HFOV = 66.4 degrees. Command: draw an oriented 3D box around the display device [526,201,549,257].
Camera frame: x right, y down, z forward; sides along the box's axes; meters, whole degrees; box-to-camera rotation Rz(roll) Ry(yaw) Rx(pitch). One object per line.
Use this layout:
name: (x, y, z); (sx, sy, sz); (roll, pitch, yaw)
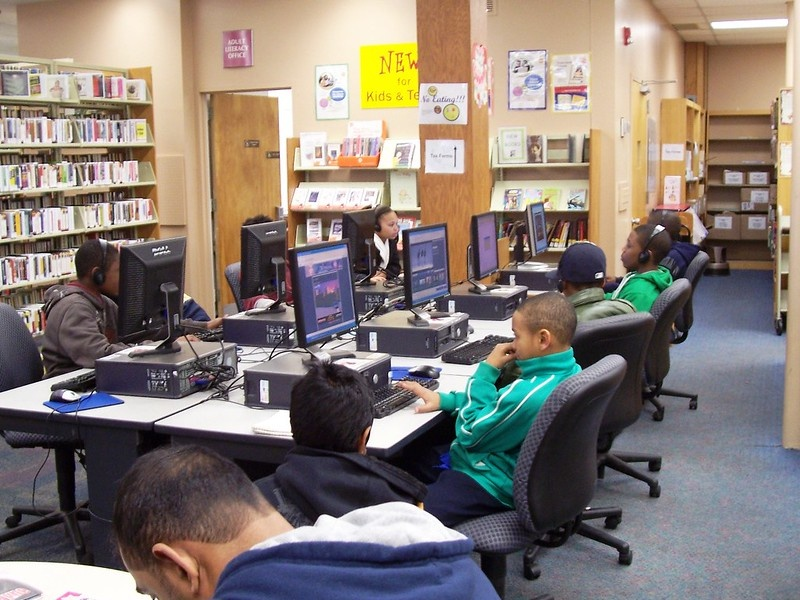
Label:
display device: (1.254, -0.645, 5.589); (0.138, 0.464, 0.500); (3, 12, 19)

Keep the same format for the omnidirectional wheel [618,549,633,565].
omnidirectional wheel: (1.106, 1.246, 3.006); (0.071, 0.070, 0.074); (-5, 10, 1)

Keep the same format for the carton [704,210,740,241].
carton: (6.154, -1.411, 11.697); (0.844, 0.602, 0.468); (7, 16, 38)

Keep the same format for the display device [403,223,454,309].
display device: (0.174, -0.191, 3.786); (0.062, 0.532, 0.606); (0, 4, 28)

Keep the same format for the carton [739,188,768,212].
carton: (6.703, -1.882, 11.562); (0.448, 0.455, 0.199); (4, 12, 23)

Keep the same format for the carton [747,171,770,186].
carton: (6.782, -2.286, 11.585); (0.279, 0.185, 0.281); (2, 10, 26)

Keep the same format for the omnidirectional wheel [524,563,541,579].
omnidirectional wheel: (0.623, 1.278, 2.869); (0.063, 0.065, 0.066); (-3, 10, 1)

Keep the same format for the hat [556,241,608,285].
hat: (1.040, -0.237, 3.603); (0.284, 0.221, 0.376); (-14, 11, -35)

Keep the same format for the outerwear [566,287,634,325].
outerwear: (1.089, 0.032, 3.427); (0.241, 0.122, 0.320); (-6, 14, -11)

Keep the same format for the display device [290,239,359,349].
display device: (-0.368, -0.014, 2.971); (0.059, 0.494, 0.564); (-3, 7, 22)

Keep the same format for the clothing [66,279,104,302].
clothing: (-1.684, -0.063, 3.278); (0.137, 0.083, 0.111); (31, 2, -2)

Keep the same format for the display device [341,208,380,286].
display device: (-0.282, -0.405, 4.816); (0.201, 0.578, 0.569); (4, 13, 16)

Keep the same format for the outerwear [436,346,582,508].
outerwear: (0.420, 0.430, 2.570); (0.587, 0.614, 0.503); (14, 5, 14)

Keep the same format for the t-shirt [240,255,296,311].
t-shirt: (-0.779, -0.080, 3.726); (0.248, 0.324, 0.310); (-1, 4, 19)

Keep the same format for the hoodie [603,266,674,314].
hoodie: (1.655, -0.025, 4.260); (0.307, 0.281, 0.505); (21, 20, 20)

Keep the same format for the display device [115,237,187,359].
display device: (-1.195, -0.002, 2.943); (0.196, 0.590, 0.500); (10, 12, 26)

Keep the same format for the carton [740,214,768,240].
carton: (6.560, -1.331, 11.359); (0.441, 0.459, 0.461); (3, 2, 13)

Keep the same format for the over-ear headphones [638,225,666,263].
over-ear headphones: (1.789, -0.404, 4.383); (0.065, 0.250, 0.190); (19, 14, 23)

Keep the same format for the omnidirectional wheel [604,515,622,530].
omnidirectional wheel: (1.140, 1.195, 3.280); (0.087, 0.089, 0.067); (4, 5, 25)
